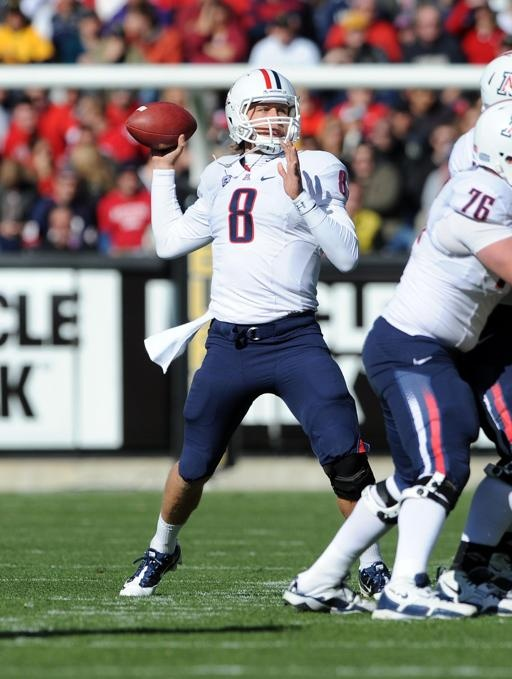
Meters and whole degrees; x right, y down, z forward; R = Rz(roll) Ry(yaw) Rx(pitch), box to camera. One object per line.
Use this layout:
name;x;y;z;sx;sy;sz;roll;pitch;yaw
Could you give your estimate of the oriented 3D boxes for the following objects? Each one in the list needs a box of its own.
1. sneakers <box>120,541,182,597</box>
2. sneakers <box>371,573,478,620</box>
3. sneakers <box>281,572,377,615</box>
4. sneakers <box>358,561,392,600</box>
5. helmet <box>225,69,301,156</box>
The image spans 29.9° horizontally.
sneakers;-0.352;0.740;3.042;0.089;0.076;0.228;12;32;31
sneakers;0.431;0.651;2.406;0.271;0.100;0.094;-6;-17;36
sneakers;0.190;0.700;2.652;0.296;0.103;0.091;3;6;-7
sneakers;0.344;0.717;2.857;0.073;0.072;0.171;16;-1;-1
helmet;0.022;-0.749;3.078;0.231;0.223;0.291;-10;25;-26
